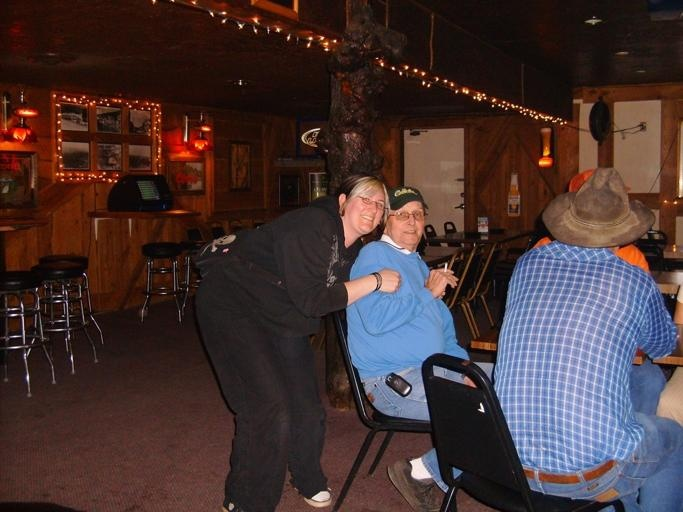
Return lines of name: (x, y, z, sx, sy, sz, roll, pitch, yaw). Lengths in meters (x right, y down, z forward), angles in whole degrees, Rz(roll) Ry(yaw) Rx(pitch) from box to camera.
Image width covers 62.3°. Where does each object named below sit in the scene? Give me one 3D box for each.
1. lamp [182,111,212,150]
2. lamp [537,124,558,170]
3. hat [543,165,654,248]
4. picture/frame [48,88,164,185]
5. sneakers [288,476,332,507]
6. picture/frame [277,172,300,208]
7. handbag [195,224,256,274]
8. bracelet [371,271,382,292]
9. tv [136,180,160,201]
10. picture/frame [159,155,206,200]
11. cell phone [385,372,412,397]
lamp: (-2.335, -2.054, 9.400, 0.383, 0.606, 0.621, 2, 9, 15)
lamp: (3.793, -2.028, 10.526, 0.306, 0.789, 0.242, 3, 10, 19)
hat: (1.145, -0.207, 2.523, 0.382, 0.183, 0.430, 8, 33, 32)
picture/frame: (-3.376, -1.688, 7.944, 0.097, 1.019, 1.456, 3, 4, 37)
sneakers: (-0.222, 1.405, 3.365, 0.316, 0.125, 0.128, -6, -3, 45)
picture/frame: (-1.089, -1.328, 11.393, 0.093, 0.612, 0.656, 5, 8, 35)
handbag: (-0.683, 0.016, 3.104, 0.378, 0.107, 0.300, 3, -19, -20)
bracelet: (0.176, 0.134, 2.900, 0.050, 0.097, 0.058, -3, 10, -14)
tv: (-2.603, -0.882, 7.567, 0.212, 0.271, 0.344, 2, 9, 16)
picture/frame: (-2.666, -1.324, 9.277, 0.823, 0.688, 0.061, -7, 33, -38)
cell phone: (0.285, 0.663, 2.958, 0.140, 0.087, 0.038, 27, 2, 27)
